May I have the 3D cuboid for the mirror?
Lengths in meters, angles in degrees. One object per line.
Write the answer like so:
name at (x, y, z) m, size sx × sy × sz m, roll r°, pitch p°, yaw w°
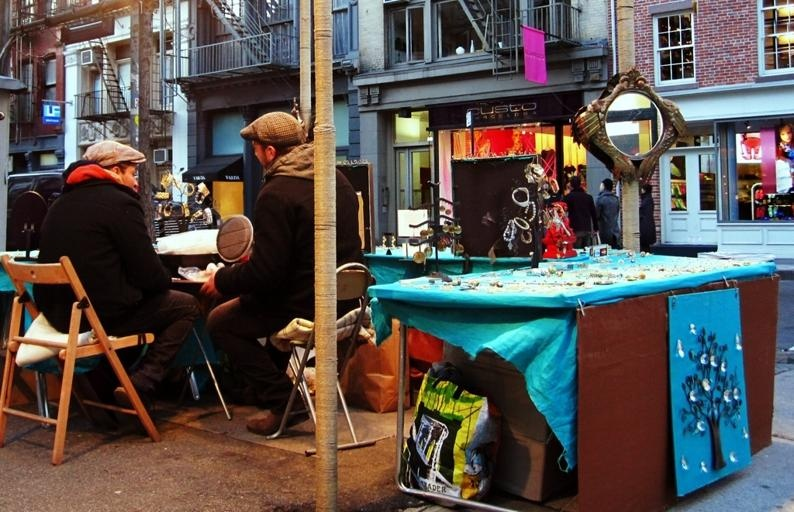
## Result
mirror at (2.220, -1.187, 6.676) m, size 0.986 × 1.108 × 0.203 m, roll -1°, pitch -8°, yaw 8°

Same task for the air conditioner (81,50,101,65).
air conditioner at (-11.790, -7.602, 27.269) m, size 0.722 × 0.685 × 0.439 m, roll -1°, pitch 12°, yaw 17°

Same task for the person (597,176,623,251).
person at (4.529, -0.858, 15.245) m, size 0.520 × 1.512 × 0.984 m, roll 2°, pitch 10°, yaw 17°

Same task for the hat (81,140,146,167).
hat at (-2.696, -0.957, 6.700) m, size 0.399 × 0.164 × 0.299 m, roll -2°, pitch 10°, yaw -29°

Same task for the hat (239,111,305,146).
hat at (-1.192, -1.180, 6.621) m, size 0.587 × 0.294 × 0.438 m, roll 2°, pitch 11°, yaw 8°

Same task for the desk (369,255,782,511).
desk at (1.078, 0.695, 5.305) m, size 2.450 × 1.394 × 1.824 m, roll -5°, pitch 6°, yaw -42°

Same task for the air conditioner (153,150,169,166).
air conditioner at (-8.152, -3.350, 24.297) m, size 0.488 × 0.502 × 0.277 m, roll -2°, pitch -7°, yaw 14°

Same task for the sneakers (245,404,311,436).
sneakers at (-1.104, 1.447, 6.423) m, size 0.454 × 0.205 × 0.265 m, roll 3°, pitch -6°, yaw -37°

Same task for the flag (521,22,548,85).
flag at (3.307, -4.827, 17.124) m, size 0.777 × 1.286 × 0.320 m, roll -9°, pitch 13°, yaw -39°

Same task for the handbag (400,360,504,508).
handbag at (0.424, 1.343, 5.220) m, size 0.490 × 1.201 × 0.956 m, roll 7°, pitch -4°, yaw -41°
